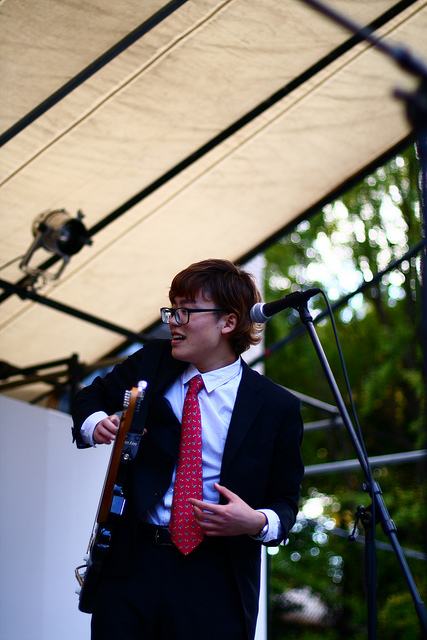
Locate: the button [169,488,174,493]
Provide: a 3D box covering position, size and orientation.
[{"bbox_3d":[-0.131,0.526,2.604,0.014,0.011,0.003,5,-5,9],"label":"button"}]

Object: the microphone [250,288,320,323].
[{"bbox_3d":[0.245,-0.046,2.887,0.243,0.096,0.175,-8,-13,0],"label":"microphone"}]

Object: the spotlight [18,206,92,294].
[{"bbox_3d":[-0.726,-0.335,3.811,0.247,0.373,0.245,13,-25,48],"label":"spotlight"}]

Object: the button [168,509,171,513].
[{"bbox_3d":[-0.135,0.587,2.588,0.017,0.013,0.004,10,-6,-5],"label":"button"}]

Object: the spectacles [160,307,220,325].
[{"bbox_3d":[-0.101,-0.016,2.845,0.102,0.025,0.096,6,-9,-33],"label":"spectacles"}]

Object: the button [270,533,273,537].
[{"bbox_3d":[0.176,0.656,2.564,0.009,0.011,0.007,-1,-16,-30],"label":"button"}]

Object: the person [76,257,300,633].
[{"bbox_3d":[-0.056,0.376,2.731,0.441,1.235,0.694,-23,-19,40],"label":"person"}]

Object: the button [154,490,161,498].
[{"bbox_3d":[-0.169,0.529,2.555,0.021,0.021,0.008,-6,-15,-12],"label":"button"}]
